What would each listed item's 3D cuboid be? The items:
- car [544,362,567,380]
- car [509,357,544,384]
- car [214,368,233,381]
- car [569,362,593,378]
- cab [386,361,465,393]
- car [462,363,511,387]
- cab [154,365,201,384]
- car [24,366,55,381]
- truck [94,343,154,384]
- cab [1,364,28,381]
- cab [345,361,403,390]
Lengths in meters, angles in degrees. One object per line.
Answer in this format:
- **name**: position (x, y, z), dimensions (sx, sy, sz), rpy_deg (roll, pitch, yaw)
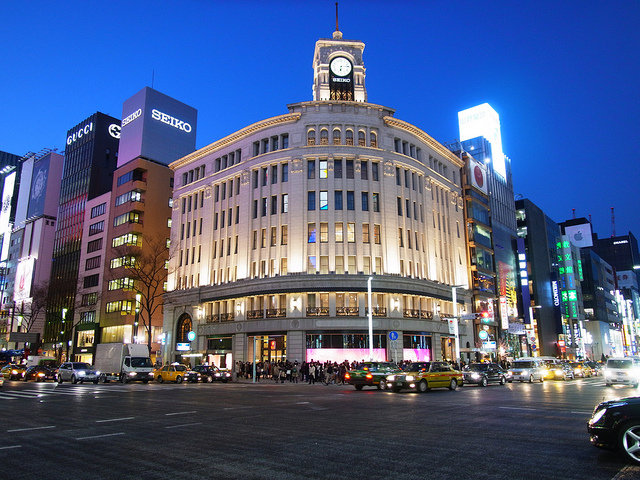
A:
- **car**: position (19.927, 11.129, 40.812), dimensions (1.359, 1.200, 2.430), rpy_deg (-8, -22, 26)
- **car**: position (16.820, 10.655, 39.224), dimensions (2.887, 2.007, 1.347), rpy_deg (8, -21, -28)
- **car**: position (-8.777, 12.283, 43.807), dimensions (0.833, 0.915, 2.114), rpy_deg (-6, -20, 12)
- **car**: position (26.311, 13.101, 48.774), dimensions (2.420, 1.252, 1.395), rpy_deg (3, -8, -30)
- **cab**: position (6.619, 8.418, 29.550), dimensions (4.292, 1.849, 1.444), rpy_deg (8, -21, -27)
- **car**: position (11.816, 9.752, 34.750), dimensions (3.468, 1.698, 1.326), rpy_deg (12, -23, -35)
- **cab**: position (-12.713, 11.955, 42.810), dimensions (4.595, 1.711, 1.132), rpy_deg (-11, -20, 24)
- **car**: position (-29.543, 14.097, 50.734), dimensions (1.925, 1.506, 4.035), rpy_deg (16, -26, -43)
- **truck**: position (-17.210, 10.907, 42.509), dimensions (6.708, 3.435, 2.247), rpy_deg (-13, -16, 40)
- **cab**: position (-34.192, 14.833, 53.984), dimensions (3.086, 1.792, 1.921), rpy_deg (-8, -20, 17)
- **cab**: position (3.898, 9.172, 32.297), dimensions (1.647, 1.234, 3.524), rpy_deg (-10, -13, 44)
